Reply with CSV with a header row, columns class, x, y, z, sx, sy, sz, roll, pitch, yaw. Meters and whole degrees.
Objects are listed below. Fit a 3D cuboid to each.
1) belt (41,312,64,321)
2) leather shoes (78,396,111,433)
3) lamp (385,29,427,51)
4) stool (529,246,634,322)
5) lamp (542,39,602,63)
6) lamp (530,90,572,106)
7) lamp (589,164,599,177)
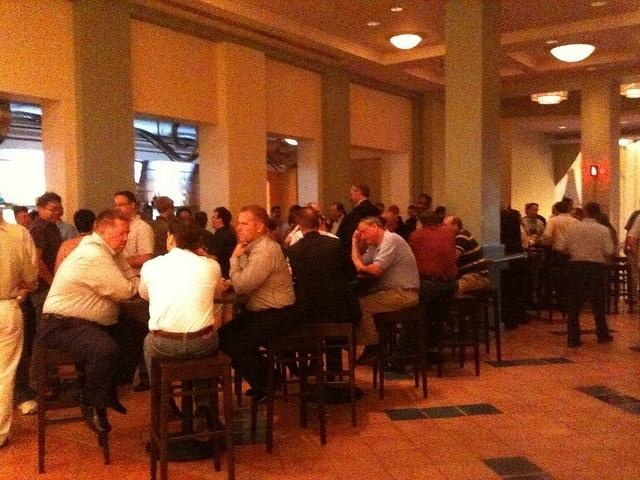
class,x,y,z,sx,sy,sz,roll,pitch,yaw
belt,-1.963,0.577,4.135,0.174,0.076,0.047,0,5,8
leather shoes,-1.631,1.255,4.080,0.384,0.252,0.149,-2,2,44
lamp,1.394,-3.260,9.146,0.498,0.200,0.387,0,5,6
stool,3.690,0.626,8.068,1.254,0.745,0.416,-1,4,-15
lamp,4.067,-3.035,8.966,0.678,0.166,0.673,-3,-6,33
lamp,4.760,-2.964,11.692,0.704,0.172,0.433,1,5,13
lamp,5.388,-1.357,11.039,0.176,0.237,0.132,-3,6,-27
